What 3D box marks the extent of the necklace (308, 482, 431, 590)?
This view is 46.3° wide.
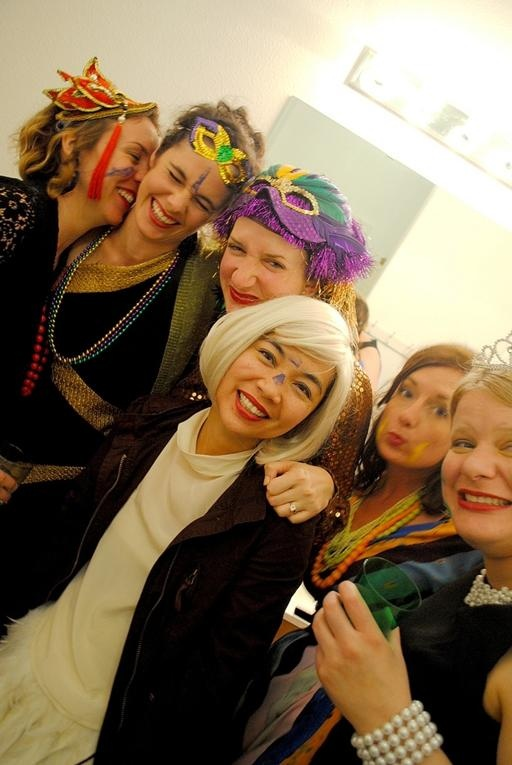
[{"bbox_3d":[0.245,0.383,1.470,0.071,0.295,0.178,37,18,-36],"label":"necklace"}]

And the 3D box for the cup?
[{"bbox_3d":[0.309,0.484,1.407,0.118,0.139,0.135,4,53,-53],"label":"cup"}]

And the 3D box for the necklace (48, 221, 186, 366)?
[{"bbox_3d":[-0.353,-0.212,1.625,0.269,0.411,0.068,36,-3,7],"label":"necklace"}]

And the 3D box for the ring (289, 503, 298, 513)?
[{"bbox_3d":[0.078,0.265,1.269,0.015,0.019,0.008,2,-1,-27],"label":"ring"}]
